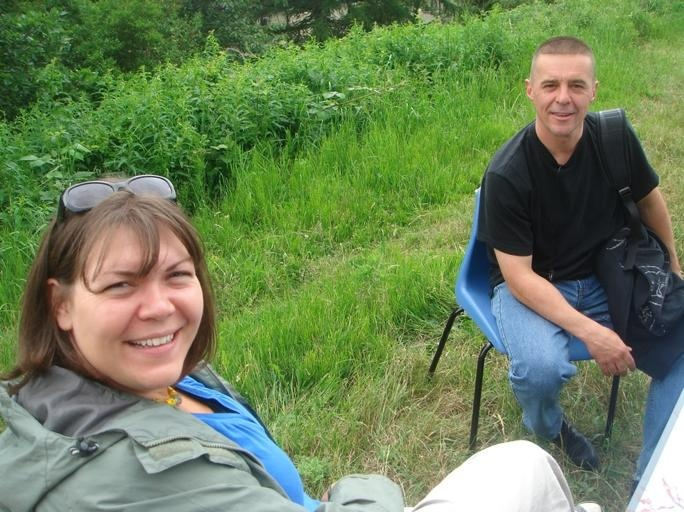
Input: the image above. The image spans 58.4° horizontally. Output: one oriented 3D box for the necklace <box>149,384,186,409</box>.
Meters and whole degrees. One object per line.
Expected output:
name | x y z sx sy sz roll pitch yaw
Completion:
necklace | -0.653 0.530 2.308 0.114 0.050 0.123 18 15 11
